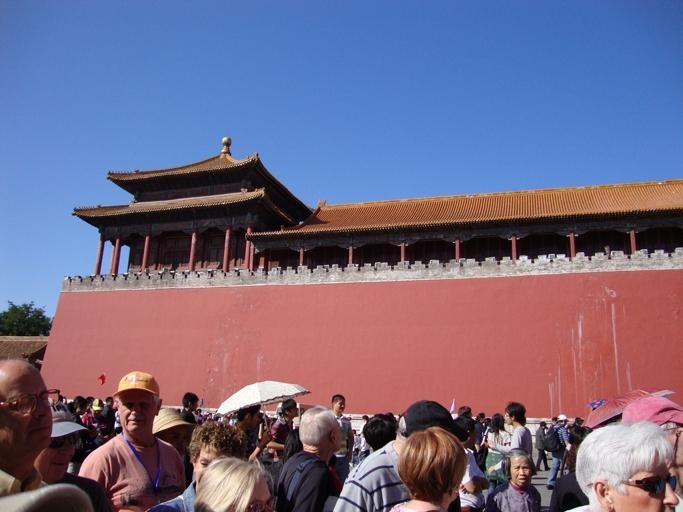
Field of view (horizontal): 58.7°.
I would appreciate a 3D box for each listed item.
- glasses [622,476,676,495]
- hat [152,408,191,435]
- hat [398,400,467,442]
[{"bbox_3d":[1.471,1.086,2.905,0.196,0.063,0.172,-9,-13,26],"label":"glasses"},{"bbox_3d":[-1.353,1.255,4.734,0.208,0.103,0.208,-8,-24,-19],"label":"hat"},{"bbox_3d":[0.582,0.997,3.728,0.331,0.131,0.228,7,-8,-33],"label":"hat"}]
